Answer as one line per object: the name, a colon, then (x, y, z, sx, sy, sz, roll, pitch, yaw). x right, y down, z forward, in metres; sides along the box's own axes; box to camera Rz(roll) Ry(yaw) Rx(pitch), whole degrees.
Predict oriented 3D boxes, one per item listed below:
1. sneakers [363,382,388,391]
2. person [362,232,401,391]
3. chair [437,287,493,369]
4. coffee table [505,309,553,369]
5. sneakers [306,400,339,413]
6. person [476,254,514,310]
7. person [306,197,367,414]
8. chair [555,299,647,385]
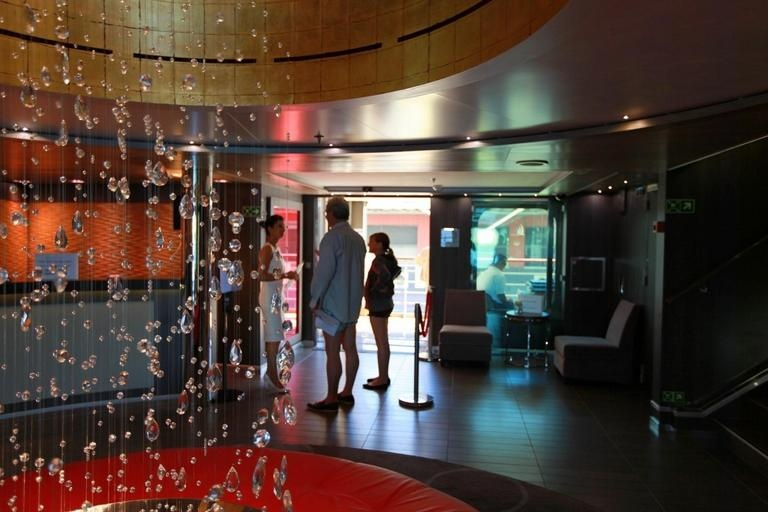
sneakers: (-0.112, 1.746, 8.276, 0.264, 0.073, 0.113, 5, -8, 1)
person: (-0.033, 0.718, 8.404, 0.464, 1.579, 0.454, 1, 0, 0)
chair: (1.305, 1.158, 9.999, 0.788, 1.141, 1.066, 2, 0, 9)
coffee table: (2.325, 1.317, 10.066, 0.765, 0.786, 0.837, 1, 0, 11)
sneakers: (-0.713, 1.766, 7.333, 0.333, 0.129, 0.137, 3, -7, 5)
person: (1.932, 0.576, 10.721, 0.682, 1.214, 0.608, 1, 5, -3)
person: (-0.534, 0.554, 7.305, 0.615, 1.781, 0.706, 1, 0, -3)
chair: (3.113, 1.202, 9.106, 1.052, 1.191, 1.098, 2, -2, 7)
